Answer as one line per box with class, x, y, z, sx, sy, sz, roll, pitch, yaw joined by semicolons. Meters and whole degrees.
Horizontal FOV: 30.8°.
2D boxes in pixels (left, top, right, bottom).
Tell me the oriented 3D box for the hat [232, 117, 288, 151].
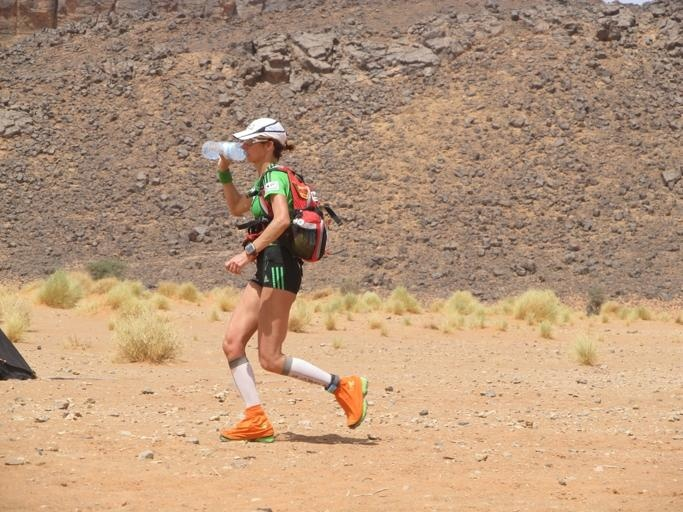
hat;-2.251;-3.428;34.419;1.336;0.539;0.775;1;3;-12
